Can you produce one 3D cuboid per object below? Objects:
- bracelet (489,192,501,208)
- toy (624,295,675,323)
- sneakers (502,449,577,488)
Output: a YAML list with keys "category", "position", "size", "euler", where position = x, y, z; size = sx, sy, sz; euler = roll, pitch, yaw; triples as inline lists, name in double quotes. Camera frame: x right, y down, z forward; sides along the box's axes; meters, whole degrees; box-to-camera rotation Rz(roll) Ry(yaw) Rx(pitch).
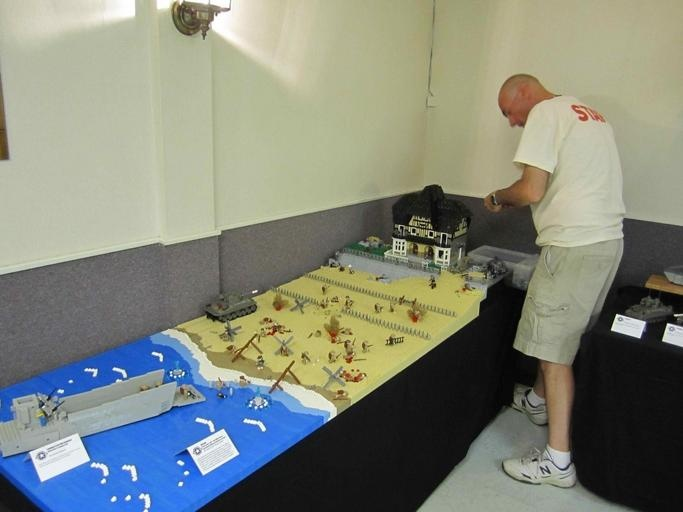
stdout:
- category: "bracelet"
  position: [0.875, -0.325, 2.958]
  size: [0.034, 0.087, 0.063]
  euler: [-5, -10, -27]
- category: "toy"
  position: [1.674, 0.295, 2.817]
  size: [0.213, 0.071, 0.154]
  euler: [-17, 22, -30]
- category: "sneakers"
  position: [1.106, 1.186, 2.917]
  size: [0.390, 0.175, 0.157]
  euler: [1, 17, 20]
